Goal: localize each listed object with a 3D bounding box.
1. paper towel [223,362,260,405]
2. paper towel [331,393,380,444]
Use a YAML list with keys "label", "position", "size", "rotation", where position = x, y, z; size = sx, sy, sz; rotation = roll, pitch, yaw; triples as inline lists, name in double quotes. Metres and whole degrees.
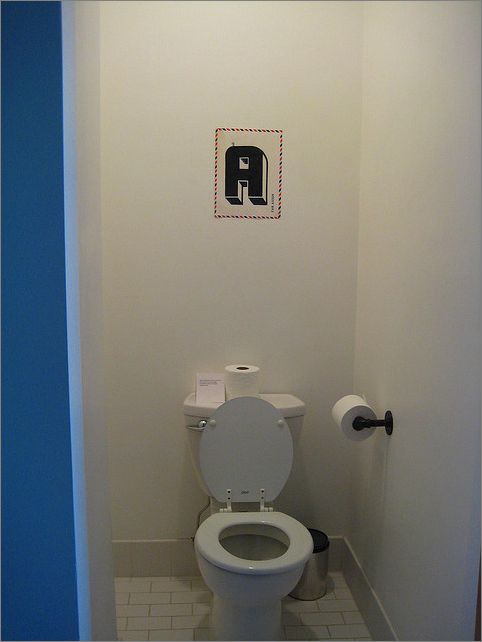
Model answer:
- label: "paper towel"
  position: [0.001, 0.209, 2.072]
  size: [0.098, 0.145, 0.101]
  rotation: [-8, 10, -39]
- label: "paper towel"
  position: [0.377, 0.320, 1.935]
  size: [0.114, 0.137, 0.224]
  rotation: [0, 14, -3]
